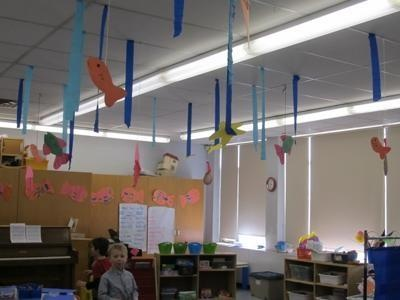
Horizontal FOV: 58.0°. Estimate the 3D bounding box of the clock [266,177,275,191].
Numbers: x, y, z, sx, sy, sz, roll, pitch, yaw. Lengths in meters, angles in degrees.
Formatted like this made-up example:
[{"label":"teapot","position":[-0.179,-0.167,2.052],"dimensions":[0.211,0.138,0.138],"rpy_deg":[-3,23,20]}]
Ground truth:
[{"label":"clock","position":[1.756,0.847,9.039],"dimensions":[0.062,0.405,0.324],"rpy_deg":[4,-1,-25]}]
